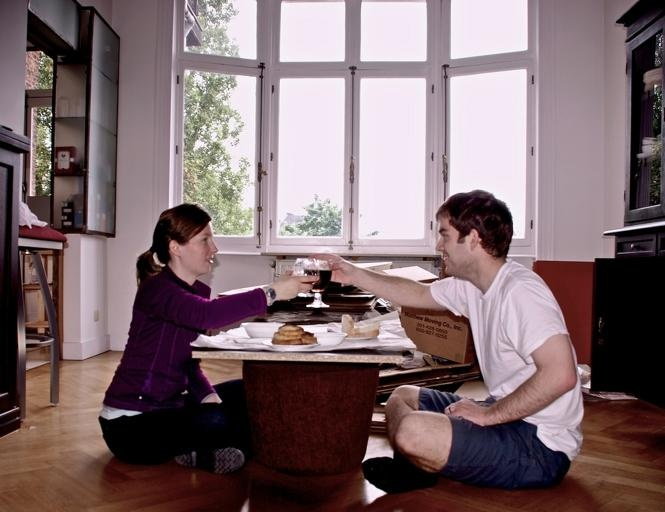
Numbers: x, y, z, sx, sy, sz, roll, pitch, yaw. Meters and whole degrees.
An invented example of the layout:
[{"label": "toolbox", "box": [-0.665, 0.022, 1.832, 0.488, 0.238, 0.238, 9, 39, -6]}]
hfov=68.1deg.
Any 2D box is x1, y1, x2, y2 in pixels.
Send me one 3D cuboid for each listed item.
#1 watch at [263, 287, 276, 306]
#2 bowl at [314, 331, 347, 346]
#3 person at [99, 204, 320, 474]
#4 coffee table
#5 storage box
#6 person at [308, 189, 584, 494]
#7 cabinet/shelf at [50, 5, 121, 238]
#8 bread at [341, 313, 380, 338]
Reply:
[{"label": "watch", "box": [-0.242, 0.149, 1.889, 0.052, 0.068, 0.088, 0, 0, -10]}, {"label": "bowl", "box": [-0.009, 0.285, 1.698, 0.096, 0.042, 0.074, 0, 0, -5]}, {"label": "person", "box": [-0.543, 0.327, 2.115, 0.751, 1.058, 0.724, 2, 2, 43]}, {"label": "coffee table", "box": [-0.078, 0.470, 1.784, 0.648, 0.413, 0.663, 0, -2, 7]}, {"label": "storage box", "box": [0.585, 0.228, 2.809, 0.644, 0.410, 0.459, 6, 6, 44]}, {"label": "person", "box": [0.494, 0.334, 2.029, 0.784, 1.129, 1.100, 8, -7, -43]}, {"label": "cabinet/shelf", "box": [-2.200, -1.192, 4.458, 0.604, 2.206, 0.369, 1, 0, -41]}, {"label": "bread", "box": [0.112, 0.297, 1.945, 0.122, 0.077, 0.121, 8, -2, -38]}]
